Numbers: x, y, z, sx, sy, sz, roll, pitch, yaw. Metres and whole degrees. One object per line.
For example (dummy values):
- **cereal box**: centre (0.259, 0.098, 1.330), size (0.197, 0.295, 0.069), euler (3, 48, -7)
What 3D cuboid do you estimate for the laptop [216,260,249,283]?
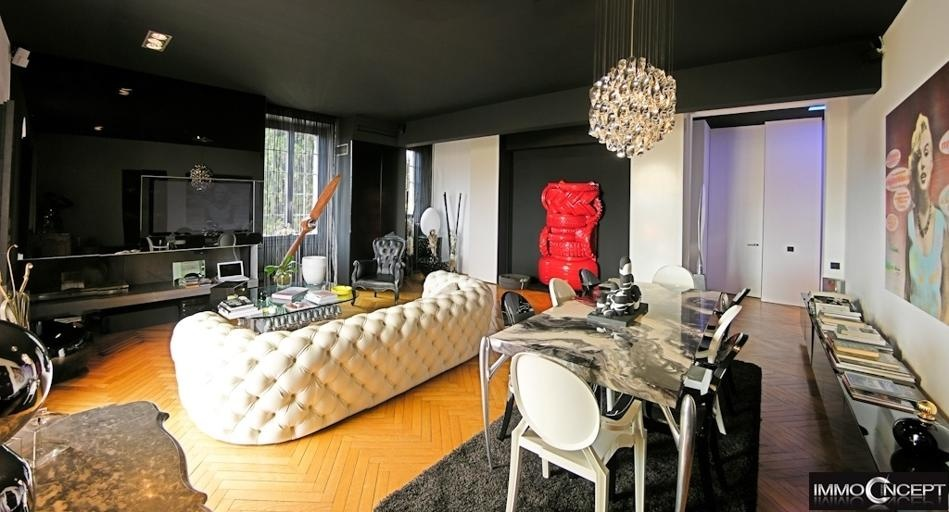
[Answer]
- **laptop**: centre (-4.053, 0.291, 8.845), size (0.364, 0.330, 0.524), euler (0, 0, 40)

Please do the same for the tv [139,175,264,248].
- **tv**: centre (-4.455, -0.702, 8.562), size (1.683, 1.137, 0.142), euler (-3, 6, -31)
